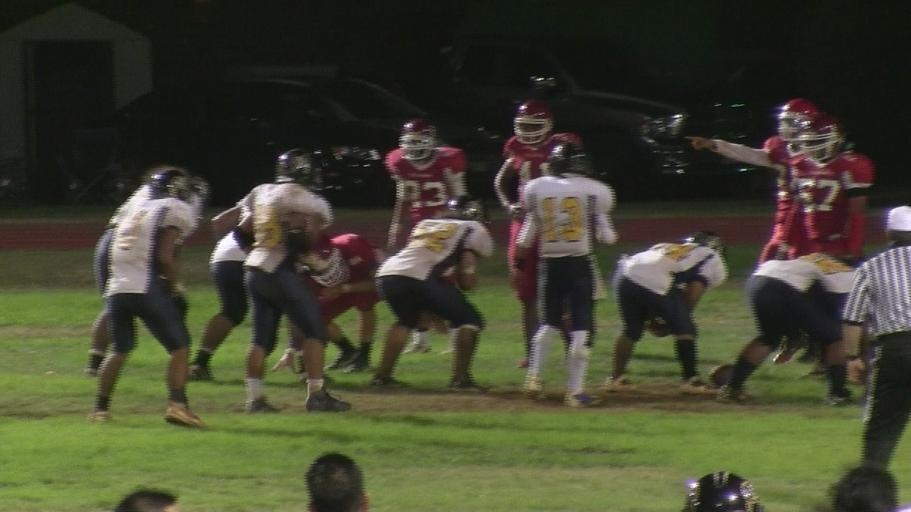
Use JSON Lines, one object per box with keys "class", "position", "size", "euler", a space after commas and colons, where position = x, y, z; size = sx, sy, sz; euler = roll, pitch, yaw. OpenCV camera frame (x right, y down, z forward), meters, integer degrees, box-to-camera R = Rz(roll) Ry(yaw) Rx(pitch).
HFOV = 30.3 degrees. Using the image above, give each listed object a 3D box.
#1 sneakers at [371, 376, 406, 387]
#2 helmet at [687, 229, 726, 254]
{"class": "sneakers", "position": [-1.150, 2.179, 29.209], "size": [0.715, 0.089, 0.113], "euler": [2, 20, -5]}
{"class": "helmet", "position": [4.225, -0.259, 28.934], "size": [0.630, 0.140, 0.580], "euler": [16, 5, 31]}
